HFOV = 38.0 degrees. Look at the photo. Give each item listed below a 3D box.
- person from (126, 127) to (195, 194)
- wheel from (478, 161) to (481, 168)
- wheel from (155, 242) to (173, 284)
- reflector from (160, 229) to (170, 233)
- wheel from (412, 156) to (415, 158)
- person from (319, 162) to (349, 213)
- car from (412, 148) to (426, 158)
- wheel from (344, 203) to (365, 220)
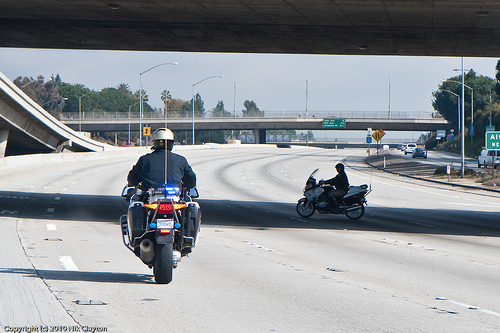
[{"bbox_3d":[-2.414,-0.116,20.403,1.117,1.342,2.371,1,9,-3],"label":"person"},{"bbox_3d":[20.901,-0.231,66.530,0.233,0.712,0.688,2,12,3],"label":"wheel"},{"bbox_3d":[-2.324,2.595,19.488,0.475,1.185,0.443,0,5,0],"label":"wheel"},{"bbox_3d":[-2.256,1.693,19.132,0.256,0.092,0.031,-1,5,-8],"label":"reflector"},{"bbox_3d":[20.135,-1.190,89.871,0.268,0.287,0.209,1,4,14],"label":"wheel"},{"bbox_3d":[3.520,0.951,30.324,0.952,2.308,1.405,3,4,-26],"label":"person"},{"bbox_3d":[20.837,-1.624,89.878,1.168,0.877,1.914,2,7,8],"label":"car"},{"bbox_3d":[4.262,1.833,29.987,0.666,0.721,0.285,0,2,13],"label":"wheel"}]
